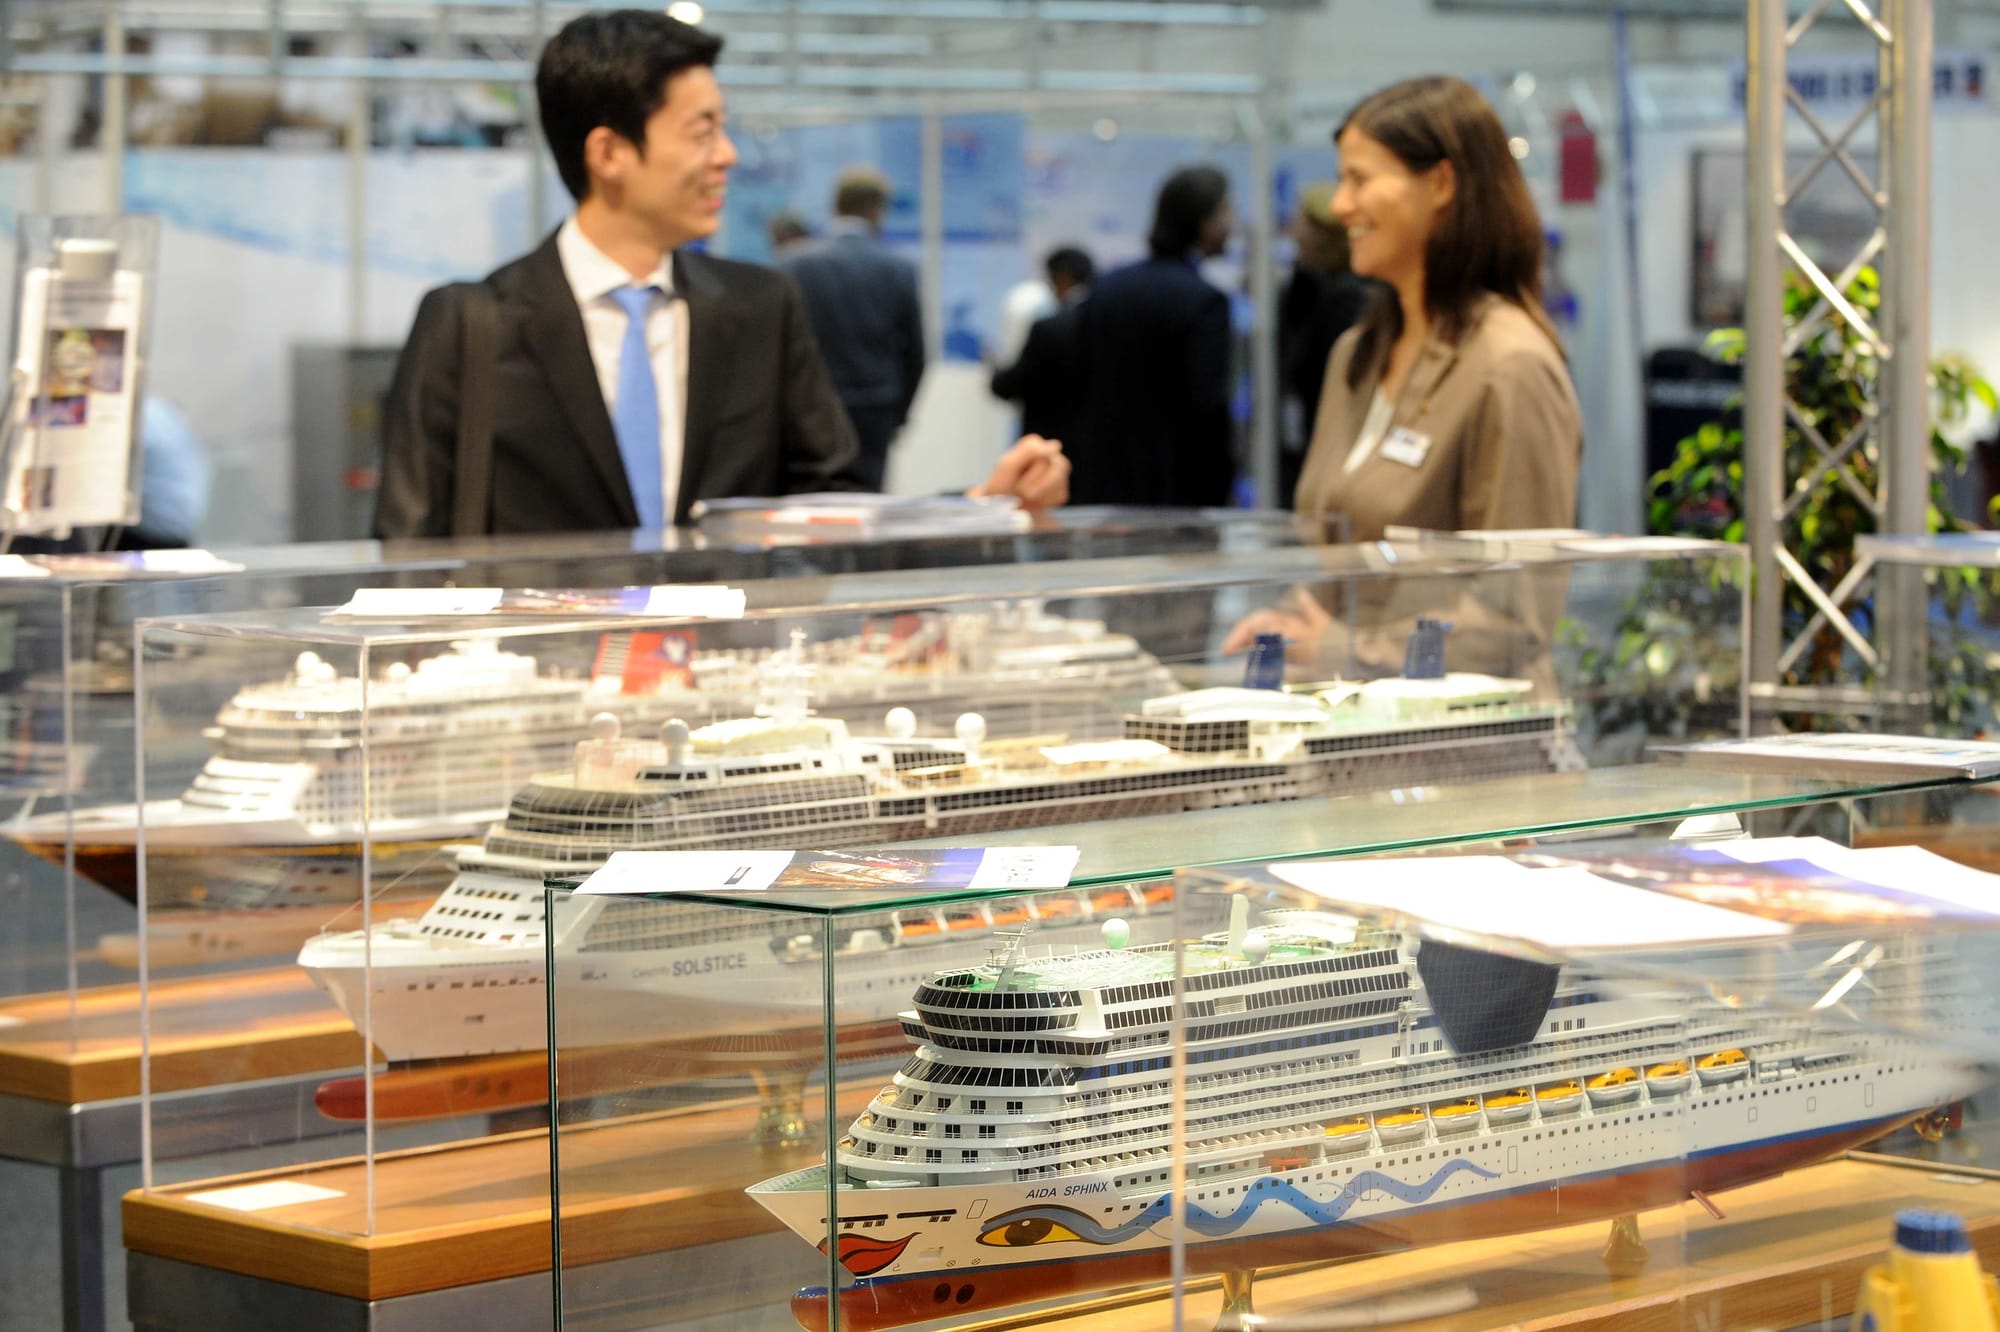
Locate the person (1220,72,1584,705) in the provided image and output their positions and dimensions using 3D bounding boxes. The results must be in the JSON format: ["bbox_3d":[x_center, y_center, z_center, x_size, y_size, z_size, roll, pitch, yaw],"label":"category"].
[{"bbox_3d":[0.876,-0.602,4.987,0.586,1.176,1.170,-1,4,8],"label":"person"}]
